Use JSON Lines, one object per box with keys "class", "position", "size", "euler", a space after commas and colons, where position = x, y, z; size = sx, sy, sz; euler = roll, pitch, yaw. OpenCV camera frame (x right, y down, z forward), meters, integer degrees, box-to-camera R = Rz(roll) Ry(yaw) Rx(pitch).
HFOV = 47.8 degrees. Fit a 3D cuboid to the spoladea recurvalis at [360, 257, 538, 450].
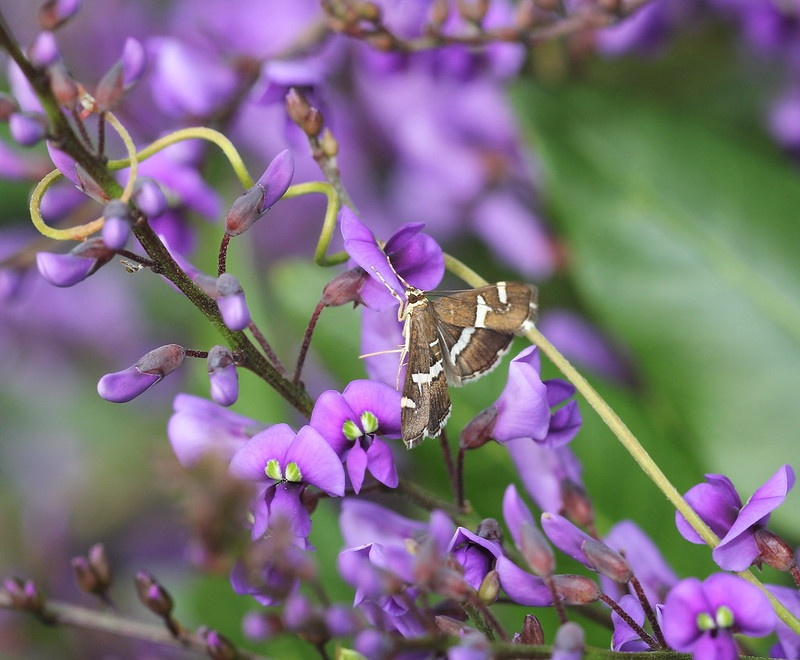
{"class": "spoladea recurvalis", "position": [0.075, 0.037, 1.805], "size": [0.333, 0.164, 0.354], "euler": [-28, 79, -27]}
